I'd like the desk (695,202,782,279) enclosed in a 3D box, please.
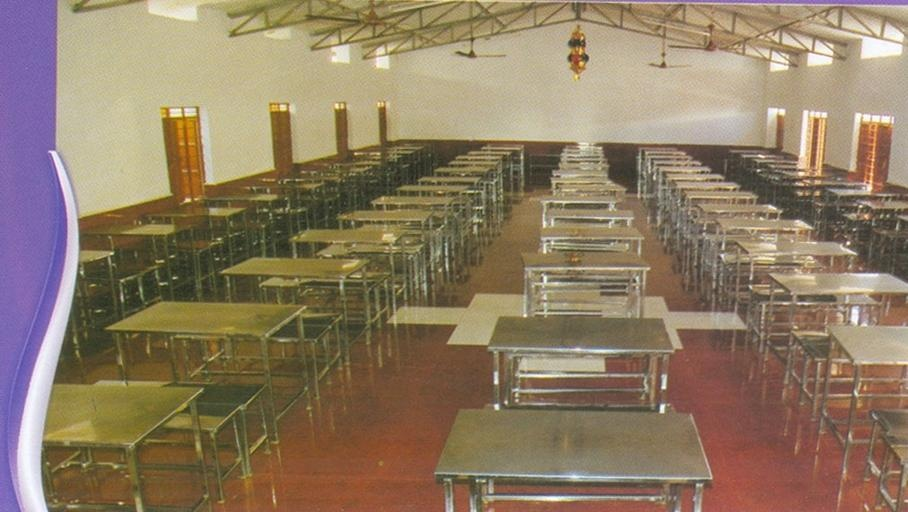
[{"bbox_3d":[4.235,-0.202,11.057,1.396,0.830,0.715,0,31,1],"label":"desk"}]

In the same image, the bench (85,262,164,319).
[{"bbox_3d":[-4.573,0.452,10.253,1.028,0.532,0.922,7,23,12],"label":"bench"}]

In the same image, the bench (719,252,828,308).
[{"bbox_3d":[4.346,0.276,10.598,1.653,0.650,0.846,0,30,0],"label":"bench"}]

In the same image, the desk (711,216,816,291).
[{"bbox_3d":[4.269,-0.005,10.360,1.262,0.726,0.682,-2,27,-1],"label":"desk"}]

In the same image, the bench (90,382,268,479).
[{"bbox_3d":[-2.636,1.681,7.022,1.054,0.414,0.611,3,15,12],"label":"bench"}]

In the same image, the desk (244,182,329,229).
[{"bbox_3d":[-3.175,-1.040,15.142,1.388,1.023,1.763,3,19,-6],"label":"desk"}]

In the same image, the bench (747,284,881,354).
[{"bbox_3d":[4.427,0.773,9.439,1.917,0.754,0.904,1,28,2],"label":"bench"}]
